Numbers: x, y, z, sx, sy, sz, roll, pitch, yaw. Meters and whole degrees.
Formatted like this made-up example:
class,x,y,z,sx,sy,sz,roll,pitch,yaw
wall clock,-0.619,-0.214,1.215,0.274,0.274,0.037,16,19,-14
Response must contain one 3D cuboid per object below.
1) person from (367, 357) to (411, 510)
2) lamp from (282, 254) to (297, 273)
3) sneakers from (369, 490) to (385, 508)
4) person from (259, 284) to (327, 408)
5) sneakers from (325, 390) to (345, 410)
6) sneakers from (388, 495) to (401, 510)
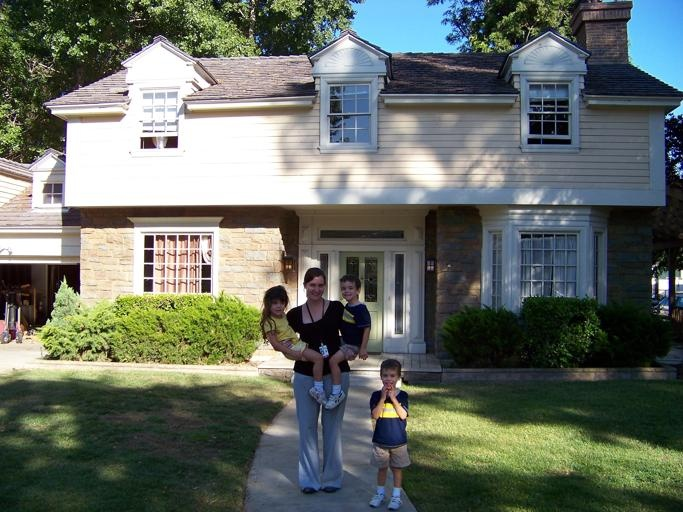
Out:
class,x,y,z,sx,sy,sz,roll,pitch,yaw
person,0.643,2.418,9.225,0.518,1.988,0.491,0,7,4
lamp,-1.321,0.186,17.286,0.326,0.600,0.459,-3,0,26
sneakers,0.484,3.334,9.233,0.103,0.112,0.268,5,-4,-39
person,-0.620,1.244,9.579,1.012,1.643,0.630,0,15,29
sneakers,-0.087,1.996,9.467,0.366,0.157,0.143,-38,16,-34
sneakers,0.717,3.338,9.173,0.187,0.178,0.159,-1,7,-4
